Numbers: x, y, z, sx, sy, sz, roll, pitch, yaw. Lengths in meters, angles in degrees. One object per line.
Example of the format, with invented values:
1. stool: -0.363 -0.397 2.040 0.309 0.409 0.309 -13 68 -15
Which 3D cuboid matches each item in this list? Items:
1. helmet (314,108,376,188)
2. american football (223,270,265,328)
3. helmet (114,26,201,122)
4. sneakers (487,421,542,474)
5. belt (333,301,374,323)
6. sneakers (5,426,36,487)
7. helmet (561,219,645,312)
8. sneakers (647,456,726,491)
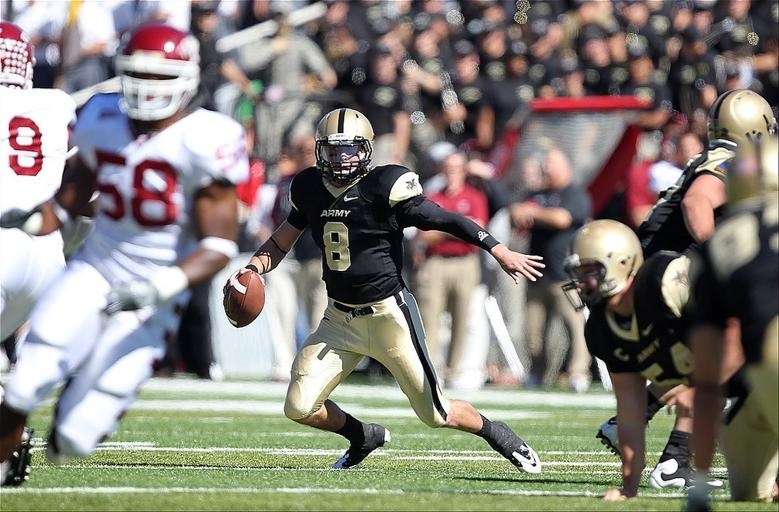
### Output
1. helmet: -0.267 -0.620 5.267 0.318 0.384 0.402 1 15 4
2. american football: -0.733 0.212 5.051 0.180 0.292 0.215 9 11 33
3. helmet: -1.140 -0.968 4.837 0.417 0.452 0.524 7 21 4
4. sneakers: 0.715 1.123 5.529 0.332 0.119 0.135 42 23 8
5. belt: -0.201 0.308 5.187 0.252 0.093 0.049 5 1 38
6. sneakers: -1.714 0.944 4.482 0.088 0.229 0.166 11 10 2
7. helmet: 0.990 0.020 4.507 0.382 0.390 0.307 -8 2 -7
8. sneakers: 1.470 1.097 4.793 0.417 0.177 0.138 0 -1 0
